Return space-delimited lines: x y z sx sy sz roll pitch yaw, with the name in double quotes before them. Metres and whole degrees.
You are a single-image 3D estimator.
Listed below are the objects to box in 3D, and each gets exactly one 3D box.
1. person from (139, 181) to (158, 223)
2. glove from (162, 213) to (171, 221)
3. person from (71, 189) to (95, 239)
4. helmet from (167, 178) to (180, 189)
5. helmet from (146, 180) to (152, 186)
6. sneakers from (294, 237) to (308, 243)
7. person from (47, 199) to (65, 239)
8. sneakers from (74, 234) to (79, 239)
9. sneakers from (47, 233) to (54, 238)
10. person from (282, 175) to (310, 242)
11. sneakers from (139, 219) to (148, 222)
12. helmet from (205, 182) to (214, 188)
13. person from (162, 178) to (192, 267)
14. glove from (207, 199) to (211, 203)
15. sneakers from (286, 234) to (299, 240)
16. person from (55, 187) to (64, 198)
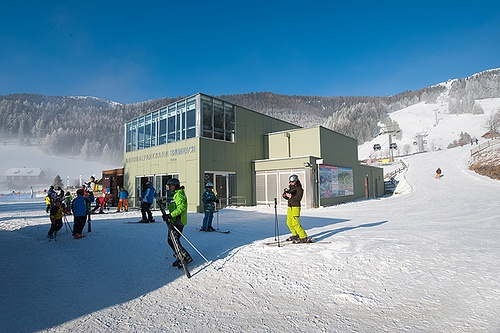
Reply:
"person" -5.617 1.931 19.509 0.764 2.242 1.311 -1 -5 -17
"glove" -2.995 1.817 12.726 0.300 0.240 0.273 -1 -5 -18
"person" -7.643 2.108 16.041 0.452 2.179 0.848 -4 -4 17
"helmet" -2.891 0.649 13.379 0.389 0.406 0.327 -5 3 -20
"helmet" -5.646 0.924 19.614 0.210 0.193 0.345 7 -6 -40
"sneakers" 2.121 3.129 15.003 0.593 0.278 0.213 2 -13 6
"person" -8.729 2.289 15.897 0.417 1.752 0.764 -2 -4 1
"sneakers" -7.645 3.076 15.635 0.214 0.171 0.107 0 -5 -28
"sneakers" -8.728 3.063 15.590 0.272 0.222 0.310 -5 -6 26
"person" 1.920 1.763 15.179 0.923 2.848 0.965 -3 -4 10
"sneakers" -5.720 2.910 19.030 0.462 0.209 0.239 0 -5 -23
"helmet" -2.017 0.923 17.371 0.305 0.254 0.480 -1 -5 -14
"person" -2.800 2.094 13.368 1.122 3.159 1.377 1 -1 -20
"glove" -1.985 1.698 17.074 0.202 0.144 0.090 -3 -5 5
"sneakers" 1.807 3.050 15.251 0.533 0.262 0.199 -4 -15 27
"person" -8.907 1.262 16.561 0.563 0.307 0.791 7 -3 -30
